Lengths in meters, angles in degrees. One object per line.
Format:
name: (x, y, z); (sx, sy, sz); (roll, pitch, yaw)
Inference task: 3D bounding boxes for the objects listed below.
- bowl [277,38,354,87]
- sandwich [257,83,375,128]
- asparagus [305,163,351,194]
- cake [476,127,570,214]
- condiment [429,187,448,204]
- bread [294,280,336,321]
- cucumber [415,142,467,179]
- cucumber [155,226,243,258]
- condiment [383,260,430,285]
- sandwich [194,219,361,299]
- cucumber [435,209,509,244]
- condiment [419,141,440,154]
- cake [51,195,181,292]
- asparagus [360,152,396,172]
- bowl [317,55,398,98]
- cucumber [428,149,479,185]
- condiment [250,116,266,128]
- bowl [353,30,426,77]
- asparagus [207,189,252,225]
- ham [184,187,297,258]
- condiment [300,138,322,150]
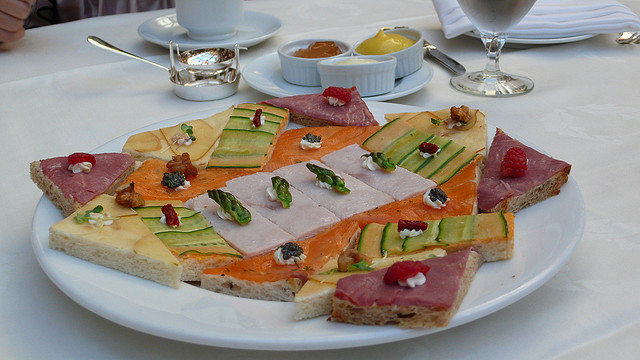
bowl: (-0.061, -0.925, 3.948); (0.498, 0.202, 0.477); (0, 24, 0)
sandwich: (0.028, -0.513, 3.489); (0.539, 0.097, 0.412); (4, 33, 12)
asparagus: (0.045, -0.018, 3.008); (0.280, 0.098, 0.120); (35, 51, 23)
cake: (1.204, -0.038, 2.885); (0.455, 0.237, 0.646); (14, 43, 16)
condiment: (0.670, 0.085, 2.763); (0.085, 0.028, 0.090); (-17, 43, -32)
bread: (-0.026, 0.580, 2.333); (0.174, 0.109, 0.217); (8, 42, 9)
cucumber: (0.750, -0.093, 3.124); (0.246, 0.590, 0.053); (23, 73, 1)
cucumber: (-0.663, 0.337, 2.631); (0.251, 0.031, 0.226); (-5, 30, -30)
condiment: (0.444, 0.442, 2.397); (0.302, 0.099, 0.223); (6, -10, -44)
sandwich: (-0.161, 0.448, 2.570); (0.904, 0.169, 0.325); (-15, 43, -17)
cucumber: (0.827, 0.258, 2.592); (0.374, 0.082, 0.197); (-9, 46, 34)
condiment: (0.683, -0.202, 3.067); (0.101, 0.038, 0.061); (4, 30, 15)
cake: (-1.060, 0.351, 2.564); (0.537, 0.142, 0.483); (11, 26, -8)
asparagus: (0.383, -0.124, 3.044); (0.080, 0.063, 0.184); (-12, 29, -28)
bowl: (0.282, -0.781, 3.824); (0.550, 0.220, 0.531); (-9, 12, 2)
cucumber: (0.819, -0.075, 3.038); (0.149, 0.359, 0.032); (21, 47, -21)
condiment: (-0.422, -0.417, 3.338); (0.097, 0.030, 0.085); (5, 54, -5)
bowl: (0.635, -1.069, 3.890); (0.488, 0.271, 0.488); (-6, 27, 3)
asparagus: (-0.524, 0.139, 2.786); (0.268, 0.073, 0.135); (31, 39, 23)
ham: (-0.481, 0.244, 2.757); (0.571, 0.073, 0.302); (35, 50, 30)
condiment: (-0.064, -0.239, 3.248); (0.090, 0.034, 0.084); (-17, 33, -34)
